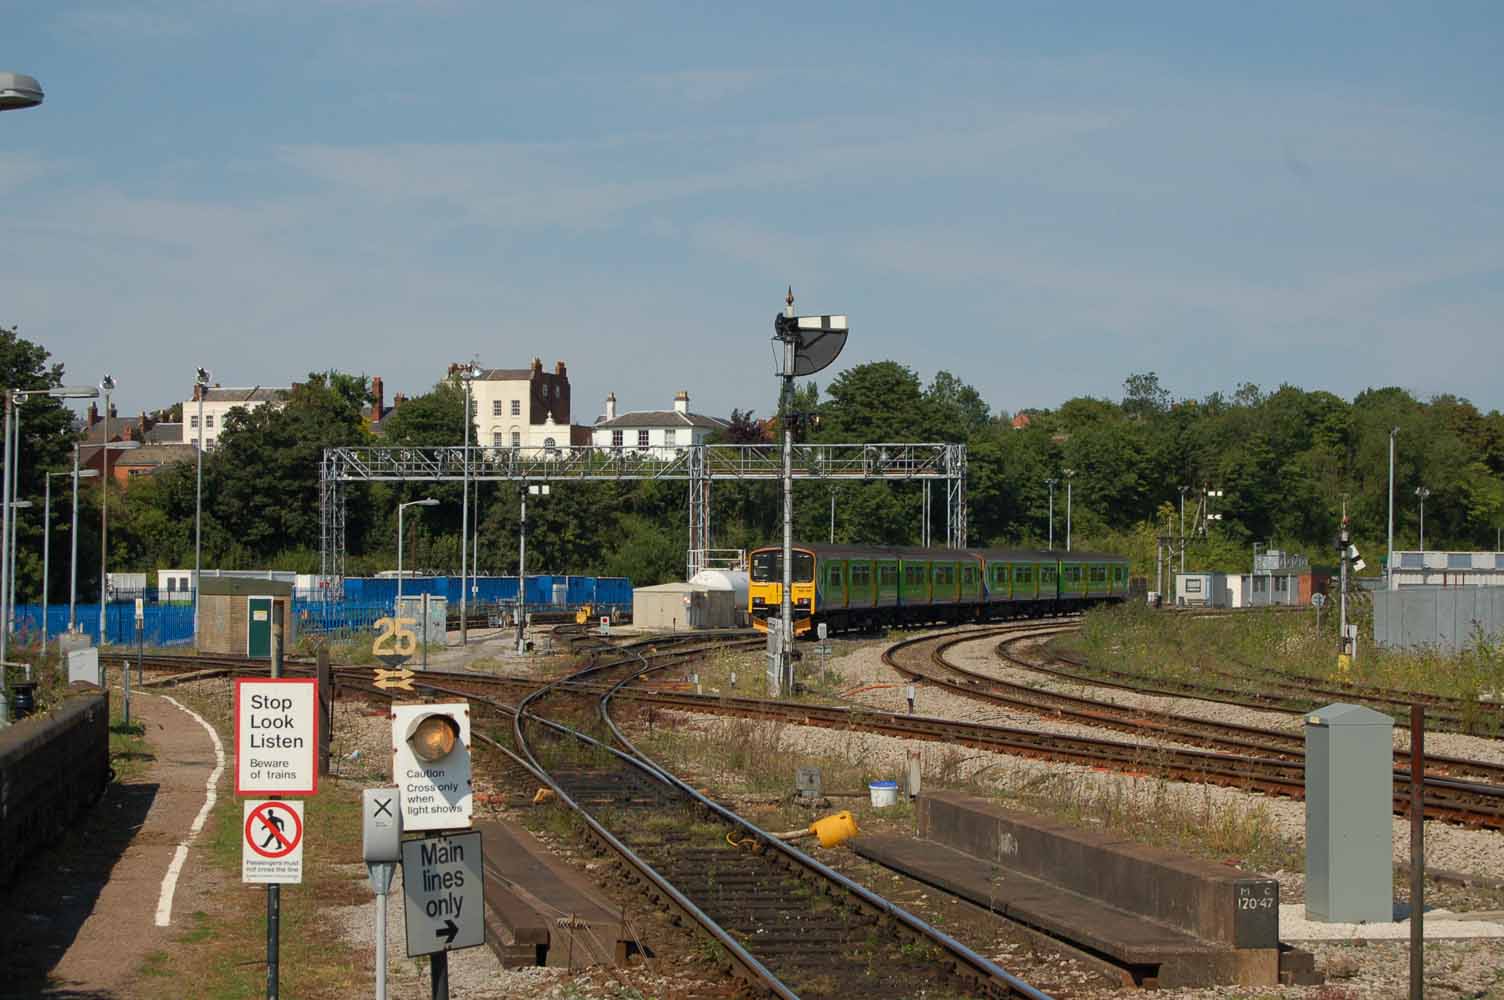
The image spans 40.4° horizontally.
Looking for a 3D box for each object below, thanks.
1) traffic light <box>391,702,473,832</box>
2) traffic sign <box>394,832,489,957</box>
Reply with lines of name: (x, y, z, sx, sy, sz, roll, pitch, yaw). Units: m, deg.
traffic light: (-4.268, 3.587, 27.253, 0.977, 1.745, 0.886, -2, 0, -14)
traffic sign: (-4.116, 5.274, 27.194, 1.149, 1.628, 0.015, -4, 4, -25)
